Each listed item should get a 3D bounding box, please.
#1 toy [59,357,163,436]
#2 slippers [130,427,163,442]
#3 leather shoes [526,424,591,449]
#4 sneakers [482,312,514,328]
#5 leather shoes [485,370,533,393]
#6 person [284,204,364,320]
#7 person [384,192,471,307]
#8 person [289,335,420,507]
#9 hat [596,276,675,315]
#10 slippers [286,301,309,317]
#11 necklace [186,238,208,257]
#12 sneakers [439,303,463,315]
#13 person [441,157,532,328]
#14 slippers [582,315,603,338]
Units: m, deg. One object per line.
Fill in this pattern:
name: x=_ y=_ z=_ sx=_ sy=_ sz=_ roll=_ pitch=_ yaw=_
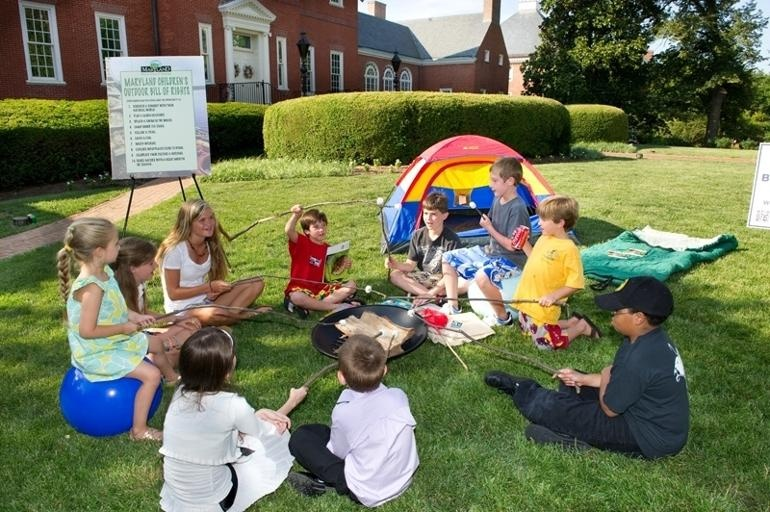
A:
toy: x=-2.764 y=1.468 z=6.407 sx=0.719 sy=0.726 sz=0.601 roll=-2 pitch=52 yaw=13
slippers: x=-2.332 y=1.746 z=6.208 sx=0.279 sy=0.122 sz=0.131 roll=-1 pitch=10 yaw=-8
leather shoes: x=1.624 y=1.753 z=6.091 sx=0.366 sy=0.102 sz=0.256 roll=11 pitch=8 yaw=3
sneakers: x=1.364 y=0.759 z=7.586 sx=0.329 sy=0.148 sz=0.165 roll=3 pitch=2 yaw=4
leather shoes: x=1.260 y=1.306 z=6.602 sx=0.361 sy=0.201 sz=0.153 roll=13 pitch=23 yaw=27
person: x=-0.846 y=0.009 z=7.808 sx=0.827 sy=1.327 sz=0.963 roll=10 pitch=11 yaw=40
person: x=0.572 y=-0.095 z=7.991 sx=0.944 sy=1.279 sz=0.941 roll=-4 pitch=12 yaw=-41
person: x=-0.276 y=1.592 z=5.915 sx=1.025 sy=1.269 sz=0.891 roll=-12 pitch=27 yaw=-30
hat: x=2.358 y=0.370 z=5.892 sx=0.530 sy=0.282 sz=0.358 roll=14 pitch=11 yaw=20
slippers: x=-1.081 y=0.665 z=7.749 sx=0.289 sy=0.159 sz=0.154 roll=3 pitch=14 yaw=15
necklace: x=-2.159 y=-0.104 z=7.299 sx=0.147 sy=0.213 sz=0.099 roll=-20 pitch=11 yaw=-10
sneakers: x=0.806 y=0.648 z=7.727 sx=0.253 sy=0.120 sz=0.119 roll=14 pitch=3 yaw=2
person: x=1.173 y=-0.203 z=8.032 sx=1.201 sy=2.048 sz=1.059 roll=-1 pitch=18 yaw=0
slippers: x=2.400 y=0.831 z=7.350 sx=0.131 sy=0.334 sz=0.090 roll=-38 pitch=1 yaw=-21
